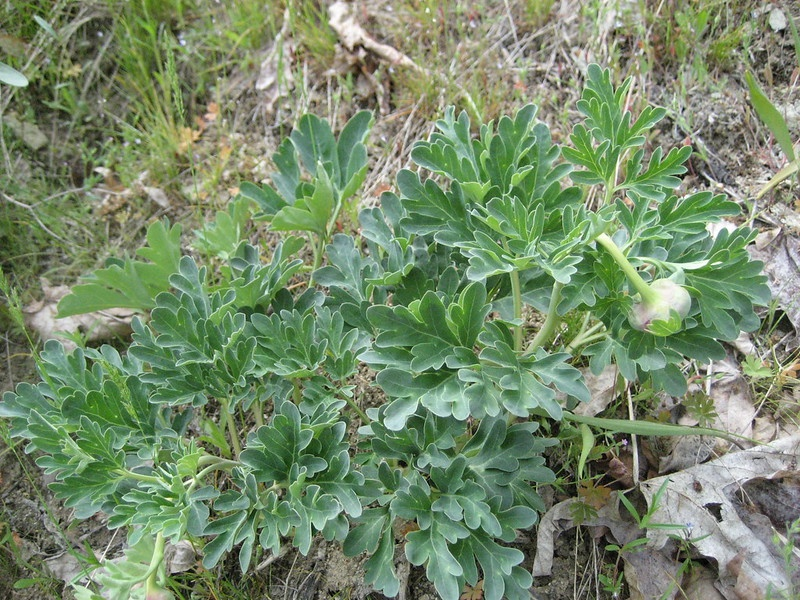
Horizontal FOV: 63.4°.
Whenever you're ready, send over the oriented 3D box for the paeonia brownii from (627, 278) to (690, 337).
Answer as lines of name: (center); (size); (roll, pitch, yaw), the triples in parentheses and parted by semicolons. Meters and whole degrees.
paeonia brownii: (0.933, 0.039, 2.326); (0.191, 0.184, 0.172); (9, 58, 14)
